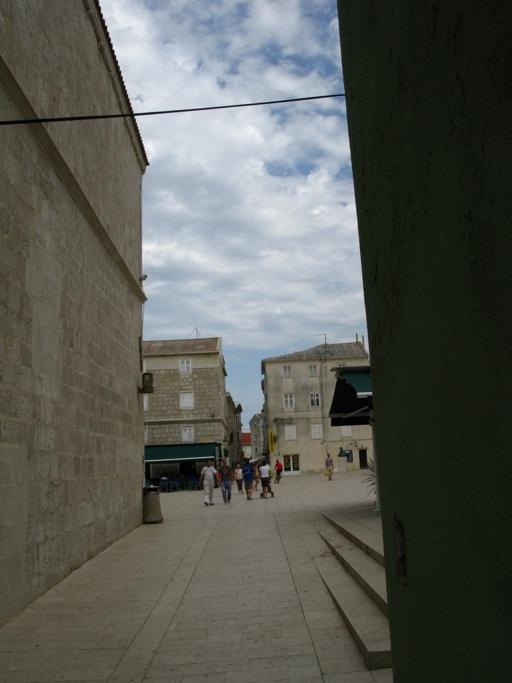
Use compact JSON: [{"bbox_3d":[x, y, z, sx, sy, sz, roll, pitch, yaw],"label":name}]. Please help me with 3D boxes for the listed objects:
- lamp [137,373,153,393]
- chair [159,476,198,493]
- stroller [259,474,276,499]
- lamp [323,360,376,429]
[{"bbox_3d":[-2.969,1.149,13.500,0.422,0.698,0.423,-1,-2,-1],"label":"lamp"},{"bbox_3d":[-5.201,9.735,33.483,2.991,0.883,1.637,4,-15,-30],"label":"chair"},{"bbox_3d":[0.468,5.943,20.294,0.557,0.980,1.458,0,-2,2],"label":"stroller"},{"bbox_3d":[2.305,1.331,11.918,1.019,1.141,5.028,-4,-13,9],"label":"lamp"}]
